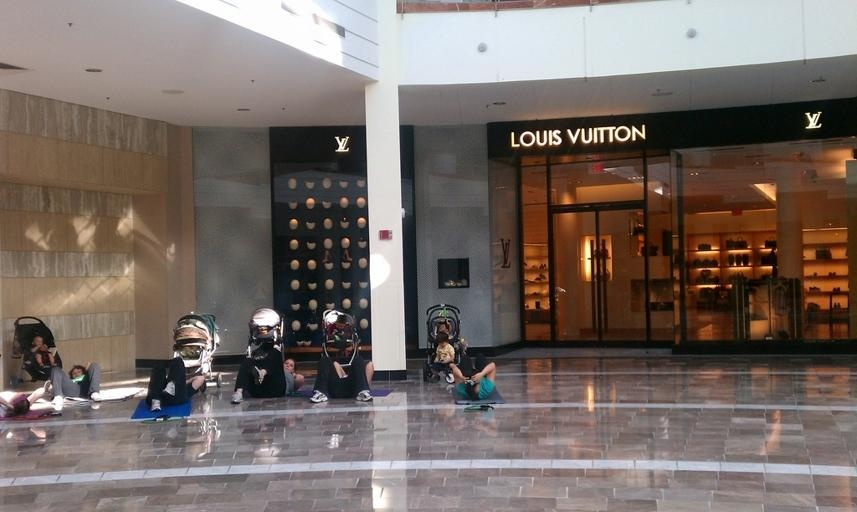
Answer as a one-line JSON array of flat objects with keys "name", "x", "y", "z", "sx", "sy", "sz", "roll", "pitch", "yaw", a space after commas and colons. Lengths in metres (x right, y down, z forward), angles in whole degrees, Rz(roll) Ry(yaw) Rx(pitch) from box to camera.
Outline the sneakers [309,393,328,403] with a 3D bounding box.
[{"name": "sneakers", "x": -2.031, "y": 2.634, "z": 12.526, "sx": 0.137, "sy": 0.152, "sz": 0.332, "roll": -8, "pitch": -15, "yaw": 33}]

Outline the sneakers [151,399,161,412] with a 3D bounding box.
[{"name": "sneakers", "x": -4.927, "y": 2.679, "z": 12.161, "sx": 0.166, "sy": 0.217, "sz": 0.319, "roll": -6, "pitch": 0, "yaw": -21}]

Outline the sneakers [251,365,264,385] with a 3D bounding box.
[{"name": "sneakers", "x": -3.256, "y": 2.283, "z": 12.898, "sx": 0.214, "sy": 0.354, "sz": 0.147, "roll": 2, "pitch": 0, "yaw": 2}]

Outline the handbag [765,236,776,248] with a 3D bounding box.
[{"name": "handbag", "x": 8.024, "y": -0.347, "z": 15.649, "sx": 0.269, "sy": 0.240, "sz": 0.133, "roll": 3, "pitch": 8, "yaw": 20}]

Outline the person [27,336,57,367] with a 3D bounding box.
[{"name": "person", "x": -8.193, "y": 2.068, "z": 14.262, "sx": 0.580, "sy": 0.778, "sz": 0.339, "roll": -1, "pitch": -7, "yaw": -44}]

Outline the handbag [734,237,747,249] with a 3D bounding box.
[{"name": "handbag", "x": 7.327, "y": -0.318, "z": 15.833, "sx": 0.394, "sy": 0.365, "sz": 0.207, "roll": 1, "pitch": 5, "yaw": 20}]

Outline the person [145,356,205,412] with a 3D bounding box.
[{"name": "person", "x": -4.754, "y": 2.465, "z": 12.755, "sx": 0.653, "sy": 0.750, "sz": 1.416, "roll": -8, "pitch": -1, "yaw": 11}]

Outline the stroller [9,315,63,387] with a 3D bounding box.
[{"name": "stroller", "x": -8.184, "y": 1.991, "z": 14.180, "sx": 0.901, "sy": 1.233, "sz": 1.053, "roll": -5, "pitch": 13, "yaw": -44}]

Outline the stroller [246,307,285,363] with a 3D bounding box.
[{"name": "stroller", "x": -3.237, "y": 1.482, "z": 13.431, "sx": 0.763, "sy": 0.950, "sz": 0.990, "roll": 2, "pitch": 6, "yaw": -4}]

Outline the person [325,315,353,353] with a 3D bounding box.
[{"name": "person", "x": -1.804, "y": 1.604, "z": 13.796, "sx": 0.618, "sy": 0.734, "sz": 0.769, "roll": 1, "pitch": 0, "yaw": -3}]

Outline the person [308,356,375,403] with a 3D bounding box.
[{"name": "person", "x": -1.579, "y": 2.341, "z": 12.945, "sx": 1.148, "sy": 0.651, "sz": 1.851, "roll": 0, "pitch": -1, "yaw": -1}]

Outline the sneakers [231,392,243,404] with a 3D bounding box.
[{"name": "sneakers", "x": -3.602, "y": 2.667, "z": 12.702, "sx": 0.121, "sy": 0.128, "sz": 0.318, "roll": 0, "pitch": -12, "yaw": -1}]

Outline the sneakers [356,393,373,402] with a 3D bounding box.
[{"name": "sneakers", "x": -1.193, "y": 2.606, "z": 12.593, "sx": 0.320, "sy": 0.202, "sz": 0.237, "roll": -6, "pitch": 0, "yaw": -9}]

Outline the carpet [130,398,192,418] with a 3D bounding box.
[{"name": "carpet", "x": -4.794, "y": 2.780, "z": 12.133, "sx": 1.025, "sy": 0.188, "sz": 1.037, "roll": -6, "pitch": 0, "yaw": -12}]

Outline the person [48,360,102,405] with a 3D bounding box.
[{"name": "person", "x": -6.775, "y": 2.431, "z": 12.883, "sx": 0.891, "sy": 0.872, "sz": 0.668, "roll": -6, "pitch": 0, "yaw": -43}]

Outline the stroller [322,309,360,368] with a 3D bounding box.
[{"name": "stroller", "x": -1.819, "y": 1.659, "z": 13.807, "sx": 0.860, "sy": 1.061, "sz": 1.114, "roll": 1, "pitch": -7, "yaw": -9}]

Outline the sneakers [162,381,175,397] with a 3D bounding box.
[{"name": "sneakers", "x": -4.769, "y": 2.448, "z": 12.325, "sx": 0.217, "sy": 0.204, "sz": 0.540, "roll": 4, "pitch": -12, "yaw": -5}]
